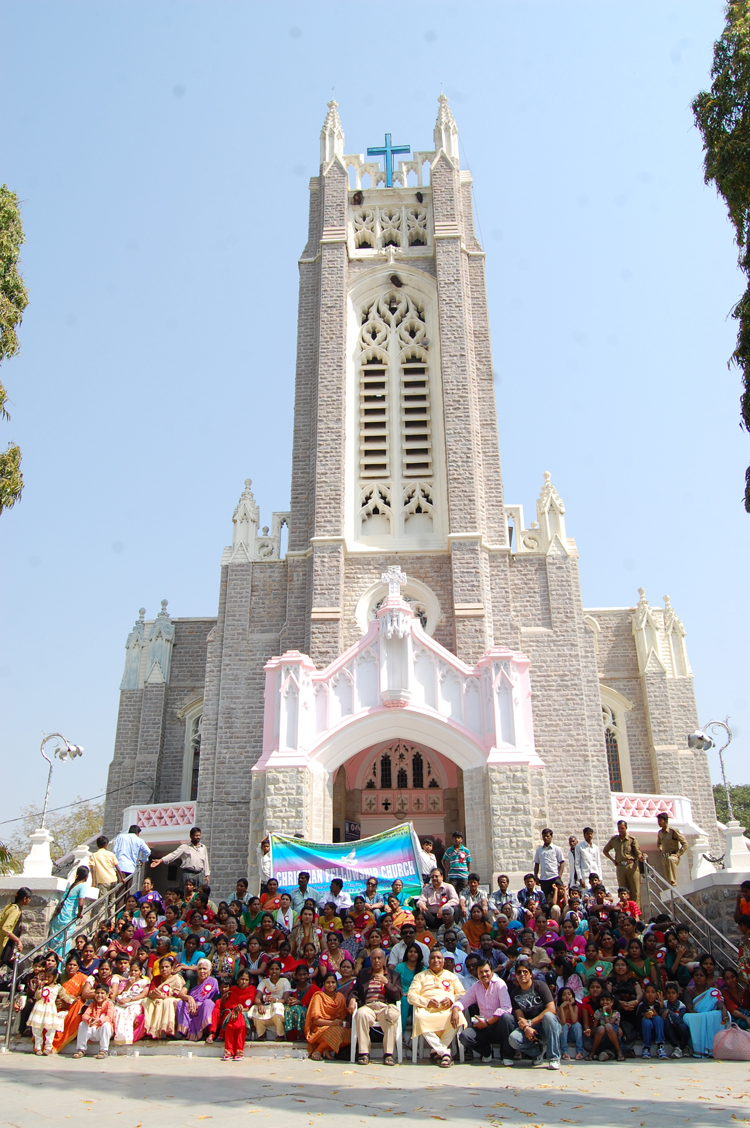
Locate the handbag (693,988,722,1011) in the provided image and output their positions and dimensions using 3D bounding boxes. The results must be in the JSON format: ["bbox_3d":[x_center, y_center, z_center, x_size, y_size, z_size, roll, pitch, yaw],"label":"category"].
[{"bbox_3d":[3.250,4.246,9.096,0.121,0.201,0.215,9,-16,-24],"label":"handbag"}]

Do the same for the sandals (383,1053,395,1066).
[{"bbox_3d":[0.114,4.382,8.279,0.070,0.104,0.102,-2,-7,35],"label":"sandals"}]

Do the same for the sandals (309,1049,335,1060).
[{"bbox_3d":[-0.494,4.535,8.631,0.213,0.064,0.073,3,-30,-6],"label":"sandals"}]
